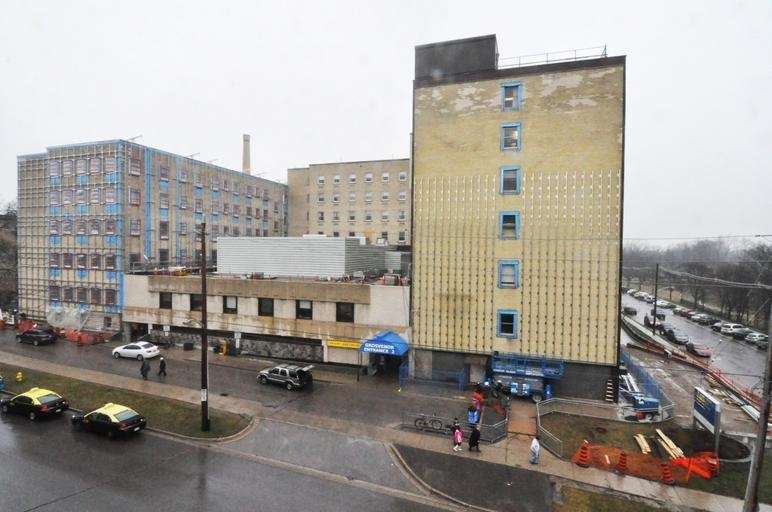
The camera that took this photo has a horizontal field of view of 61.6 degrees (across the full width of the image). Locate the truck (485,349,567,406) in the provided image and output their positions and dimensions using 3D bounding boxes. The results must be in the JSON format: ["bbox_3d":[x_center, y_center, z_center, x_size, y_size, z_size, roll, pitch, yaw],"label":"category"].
[{"bbox_3d":[12.882,11.182,61.112,5.883,4.184,1.259,1,-2,10],"label":"truck"}]

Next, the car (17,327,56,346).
[{"bbox_3d":[-38.833,8.929,72.742,3.823,1.591,1.805,7,0,4],"label":"car"}]

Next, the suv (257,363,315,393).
[{"bbox_3d":[-9.401,11.677,63.303,4.315,1.900,2.412,6,1,21],"label":"suv"}]

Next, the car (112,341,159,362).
[{"bbox_3d":[-26.328,9.945,69.177,4.254,1.459,2.015,4,2,9],"label":"car"}]

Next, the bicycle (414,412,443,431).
[{"bbox_3d":[3.758,14.308,56.721,2.307,1.358,1.206,-2,4,12],"label":"bicycle"}]
